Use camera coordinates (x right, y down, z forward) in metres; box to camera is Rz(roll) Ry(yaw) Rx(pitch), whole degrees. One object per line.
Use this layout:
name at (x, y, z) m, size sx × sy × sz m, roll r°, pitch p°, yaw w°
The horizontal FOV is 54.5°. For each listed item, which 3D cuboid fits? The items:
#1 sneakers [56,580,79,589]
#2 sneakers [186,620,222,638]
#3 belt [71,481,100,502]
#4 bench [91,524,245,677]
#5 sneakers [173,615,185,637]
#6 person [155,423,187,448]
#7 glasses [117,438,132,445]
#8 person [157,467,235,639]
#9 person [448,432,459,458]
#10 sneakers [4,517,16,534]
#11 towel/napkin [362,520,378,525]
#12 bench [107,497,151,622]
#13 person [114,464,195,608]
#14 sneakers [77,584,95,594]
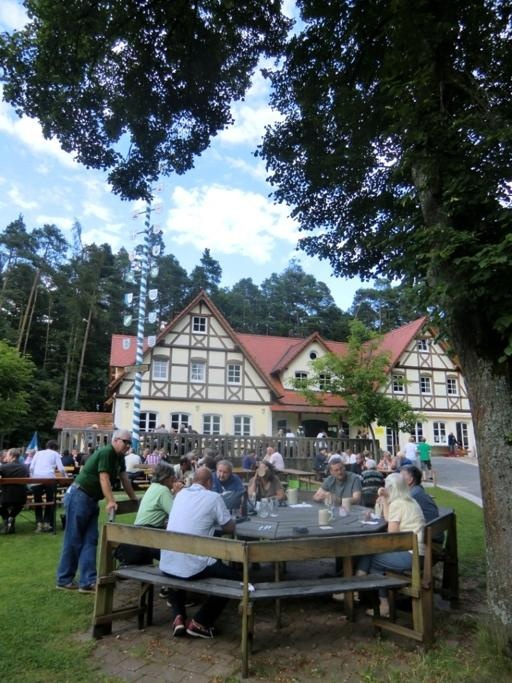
sneakers at (-2.033, 2.589, 5.349) m, size 0.201 × 0.076 × 0.097 m, roll 3°, pitch -9°, yaw -9°
sneakers at (-0.454, 2.392, 4.189) m, size 0.318 × 0.131 × 0.115 m, roll 14°, pitch -11°, yaw -7°
belt at (-1.838, 1.615, 5.422) m, size 0.265 × 0.102 × 0.212 m, roll 25°, pitch -5°, yaw 18°
bench at (-0.723, 2.142, 4.123) m, size 1.262 × 0.806 × 0.532 m, roll 0°, pitch -10°, yaw 19°
sneakers at (-0.633, 2.377, 4.170) m, size 0.121 × 0.154 × 0.102 m, roll 9°, pitch -15°, yaw -25°
person at (-3.509, 3.786, 20.254) m, size 0.838 × 0.210 × 0.870 m, roll -21°, pitch -30°, yaw 21°
glasses at (-1.403, 1.075, 5.347) m, size 0.083 × 0.024 × 0.081 m, roll -23°, pitch -32°, yaw 35°
person at (-0.566, 1.895, 4.593) m, size 0.716 × 1.407 × 0.726 m, roll 11°, pitch -15°, yaw -39°
person at (12.431, 6.422, 31.351) m, size 0.581 × 1.402 × 2.343 m, roll -3°, pitch -15°, yaw 21°
sneakers at (-4.363, 3.242, 8.801) m, size 0.127 × 0.158 × 0.371 m, roll 6°, pitch -37°, yaw -28°
towel/napkin at (1.218, 1.922, 5.303) m, size 0.088 × 0.023 × 0.090 m, roll -1°, pitch -4°, yaw 4°
bench at (-1.195, 2.063, 4.694) m, size 0.478 × 0.746 × 1.126 m, roll 2°, pitch -14°, yaw -8°
person at (-0.992, 1.925, 4.895) m, size 0.826 × 1.276 × 1.928 m, roll 4°, pitch -11°, yaw -17°
sneakers at (-1.785, 2.603, 5.253) m, size 0.197 × 0.085 × 0.071 m, roll -3°, pitch -5°, yaw 10°
